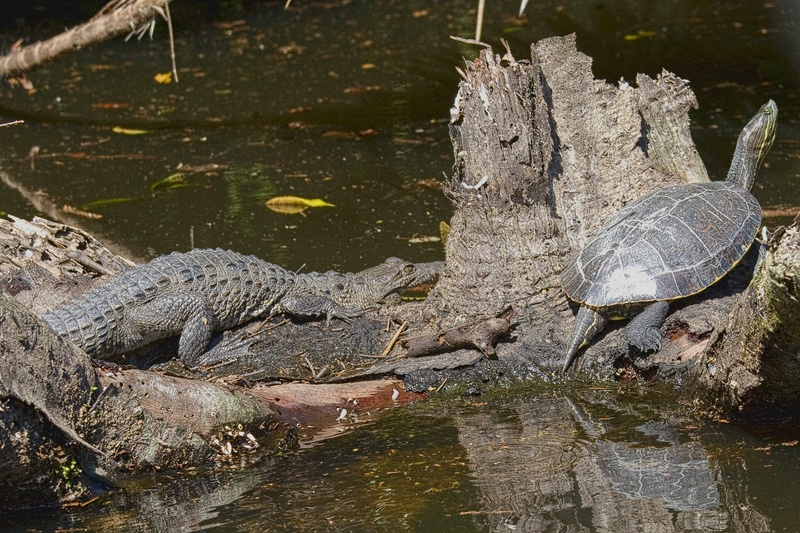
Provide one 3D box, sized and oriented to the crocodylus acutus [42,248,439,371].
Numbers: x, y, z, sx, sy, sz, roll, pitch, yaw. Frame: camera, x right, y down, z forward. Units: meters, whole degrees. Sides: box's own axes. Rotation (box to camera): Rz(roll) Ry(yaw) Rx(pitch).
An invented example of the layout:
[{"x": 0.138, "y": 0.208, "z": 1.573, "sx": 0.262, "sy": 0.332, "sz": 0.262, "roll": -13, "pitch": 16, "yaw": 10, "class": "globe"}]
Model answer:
[{"x": -1.922, "y": 0.392, "z": 11.126, "sx": 4.391, "sy": 0.673, "sz": 1.157, "roll": -8, "pitch": 30, "yaw": -19, "class": "crocodylus acutus"}]
